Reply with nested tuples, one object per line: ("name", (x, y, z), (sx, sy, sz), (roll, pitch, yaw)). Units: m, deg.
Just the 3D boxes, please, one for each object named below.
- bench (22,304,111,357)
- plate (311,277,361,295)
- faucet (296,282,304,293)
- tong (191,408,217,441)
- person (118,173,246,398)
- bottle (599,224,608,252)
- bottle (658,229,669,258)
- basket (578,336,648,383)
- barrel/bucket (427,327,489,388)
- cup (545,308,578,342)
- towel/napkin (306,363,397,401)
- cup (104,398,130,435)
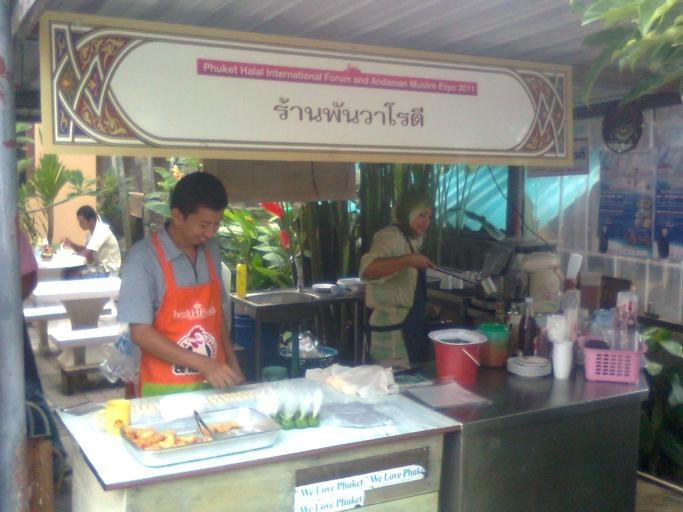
("bench", (-2.803, 0.763, 6.181), (0.847, 0.433, 0.432), (-3, 18, -32))
("plate", (-0.045, 0.289, 5.629), (0.465, 0.100, 0.372), (-5, 7, -6))
("faucet", (-0.391, 0.303, 5.669), (0.070, 0.125, 0.076), (0, 2, 31))
("tong", (-0.566, 0.692, 2.477), (0.034, 0.082, 0.090), (-24, 47, -3))
("person", (-0.839, 0.162, 3.067), (0.586, 1.141, 0.550), (-6, 7, -18))
("bottle", (2.017, -0.129, 4.656), (0.030, 0.213, 0.092), (-6, 7, -15))
("bottle", (2.257, -0.089, 4.228), (0.021, 0.214, 0.090), (-7, 7, -25))
("basket", (1.475, 0.591, 3.376), (0.272, 0.165, 0.218), (1, -5, 7))
("barrel/bucket", (0.636, 0.539, 3.217), (0.269, 0.229, 0.270), (0, -6, 0))
("cup", (1.257, 0.371, 3.434), (0.165, 0.329, 0.173), (0, 1, 0))
("towel/napkin", (0.075, 0.626, 3.045), (0.276, 0.089, 0.212), (5, 9, -14))
("cup", (-0.925, 0.673, 2.574), (0.117, 0.144, 0.122), (2, 3, 0))
